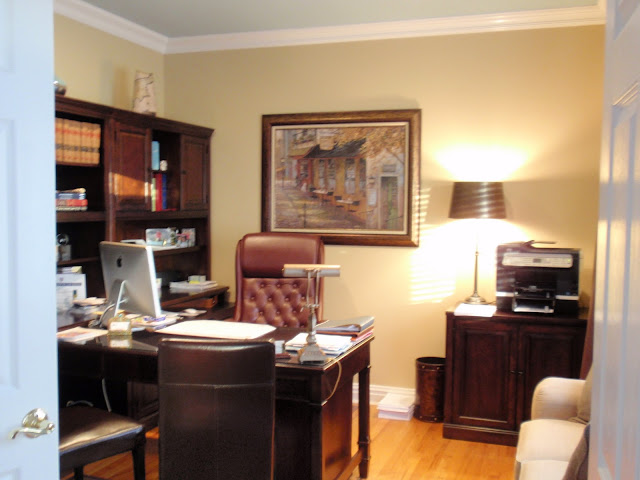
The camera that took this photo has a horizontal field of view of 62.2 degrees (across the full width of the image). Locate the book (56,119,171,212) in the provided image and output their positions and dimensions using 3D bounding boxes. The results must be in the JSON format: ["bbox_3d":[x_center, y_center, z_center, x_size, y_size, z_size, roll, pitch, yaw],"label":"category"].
[{"bbox_3d":[-1.621,-0.543,3.923,0.314,0.648,0.811,0,2,35],"label":"book"}]

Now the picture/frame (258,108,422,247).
[{"bbox_3d":[0.227,-0.537,4.467,1.246,0.991,0.057,2,7,22],"label":"picture/frame"}]

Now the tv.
[{"bbox_3d":[-1.076,0.233,2.955,0.443,0.315,0.152,8,13,38],"label":"tv"}]

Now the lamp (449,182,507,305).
[{"bbox_3d":[1.220,0.022,4.062,0.414,0.922,0.432,-1,2,18],"label":"lamp"}]

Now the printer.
[{"bbox_3d":[1.526,0.289,3.815,0.617,0.564,0.480,0,-2,20],"label":"printer"}]

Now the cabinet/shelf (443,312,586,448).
[{"bbox_3d":[1.379,0.990,3.873,1.004,0.884,0.395,3,1,6],"label":"cabinet/shelf"}]

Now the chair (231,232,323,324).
[{"bbox_3d":[-0.342,0.252,3.893,0.577,0.771,0.657,2,5,4],"label":"chair"}]
